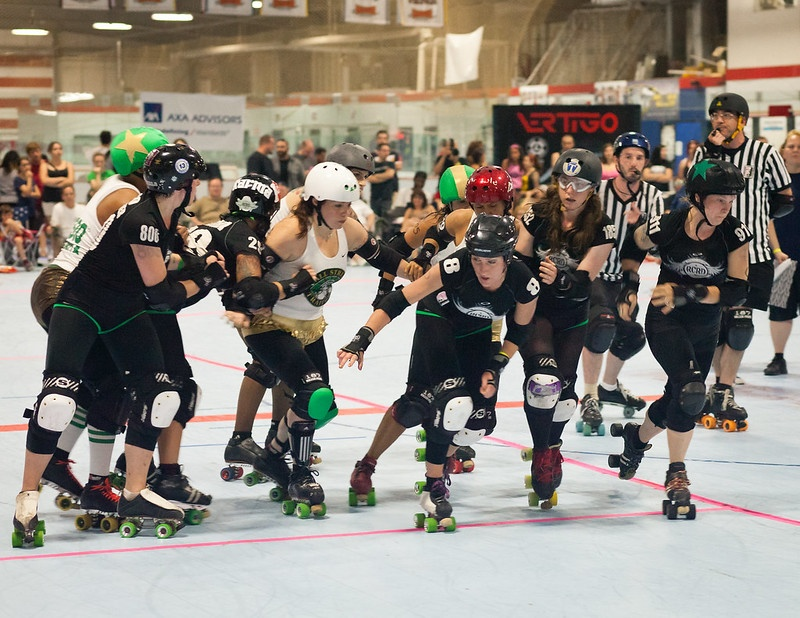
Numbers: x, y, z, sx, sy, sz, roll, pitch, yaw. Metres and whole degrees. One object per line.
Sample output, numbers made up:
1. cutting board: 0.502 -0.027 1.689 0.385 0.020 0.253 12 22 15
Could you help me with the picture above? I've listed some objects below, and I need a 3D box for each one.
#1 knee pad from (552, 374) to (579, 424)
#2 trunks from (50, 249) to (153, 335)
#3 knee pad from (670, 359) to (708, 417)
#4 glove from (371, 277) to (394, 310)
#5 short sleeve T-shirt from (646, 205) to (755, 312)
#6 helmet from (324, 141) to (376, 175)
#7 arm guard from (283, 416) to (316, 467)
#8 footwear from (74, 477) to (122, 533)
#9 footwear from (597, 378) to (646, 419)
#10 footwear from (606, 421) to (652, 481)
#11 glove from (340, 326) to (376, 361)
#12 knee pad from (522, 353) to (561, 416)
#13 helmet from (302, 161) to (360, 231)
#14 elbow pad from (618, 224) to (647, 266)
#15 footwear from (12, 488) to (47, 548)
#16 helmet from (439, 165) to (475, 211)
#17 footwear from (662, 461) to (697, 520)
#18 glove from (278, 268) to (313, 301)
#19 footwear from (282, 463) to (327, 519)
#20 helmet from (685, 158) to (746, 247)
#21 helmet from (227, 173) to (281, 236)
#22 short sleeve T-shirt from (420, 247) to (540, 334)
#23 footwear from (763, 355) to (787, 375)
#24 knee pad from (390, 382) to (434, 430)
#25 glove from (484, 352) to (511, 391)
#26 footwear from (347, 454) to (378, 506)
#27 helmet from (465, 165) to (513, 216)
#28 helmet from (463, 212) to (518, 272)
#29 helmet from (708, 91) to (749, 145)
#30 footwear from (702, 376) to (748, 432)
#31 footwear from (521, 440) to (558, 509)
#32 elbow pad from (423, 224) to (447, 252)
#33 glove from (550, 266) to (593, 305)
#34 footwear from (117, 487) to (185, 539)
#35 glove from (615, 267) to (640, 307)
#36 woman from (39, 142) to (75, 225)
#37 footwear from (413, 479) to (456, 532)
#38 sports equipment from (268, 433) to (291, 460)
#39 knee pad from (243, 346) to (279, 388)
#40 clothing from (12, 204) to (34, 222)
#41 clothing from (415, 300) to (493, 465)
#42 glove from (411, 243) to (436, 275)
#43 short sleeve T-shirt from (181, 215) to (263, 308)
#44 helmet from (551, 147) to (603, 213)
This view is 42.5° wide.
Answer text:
1. knee pad: 1.073 0.590 6.718 0.177 0.280 0.144 19 -6 -16
2. trunks: -1.774 -0.175 5.943 0.300 0.464 0.414 27 -6 -15
3. knee pad: 1.797 0.516 6.372 0.166 0.204 0.294 -12 15 -7
4. glove: -0.139 -0.108 7.473 0.182 0.221 0.093 25 3 -21
5. short sleeve T-shirt: 1.924 -0.329 6.668 0.662 0.573 0.353 4 24 18
6. helmet: -0.337 -1.010 6.956 0.283 0.190 0.201 7 3 11
7. arm guard: -0.655 0.860 6.539 0.214 0.310 0.236 12 -24 -41
8. footwear: -1.785 1.179 6.137 0.361 0.308 0.227 2 -4 13
9. footwear: 1.839 0.762 8.821 0.552 0.281 0.195 10 11 5
10. footwear: 1.517 0.935 6.956 0.273 0.448 0.299 -3 17 -9
11. glove: -0.244 0.220 6.266 0.160 0.078 0.215 31 56 33
12. knee pad: 0.892 0.471 6.523 0.271 0.322 0.175 9 34 7
13. helmet: -0.430 -0.716 6.370 0.351 0.350 0.302 1 10 1
14. elbow pad: 1.596 -0.416 7.031 0.130 0.241 0.234 -3 11 -20
15. footwear: -2.093 1.175 5.786 0.171 0.323 0.205 -3 11 -19
16. helmet: 0.367 -0.864 7.283 0.285 0.312 0.318 -4 12 -1
17. footwear: 1.759 1.139 6.493 0.177 0.329 0.458 3 -3 7
18. glove: -0.623 -0.151 6.227 0.221 0.175 0.101 0 11 -5
19. footwear: -0.603 1.127 6.520 0.230 0.314 0.479 1 1 -23
20. helmet: 1.927 -0.701 6.309 0.366 0.521 0.449 -12 14 -43
21. helmet: -0.936 -0.688 6.574 0.362 0.379 0.435 9 12 -6
22. short sleeve T-shirt: 0.538 -0.125 6.323 0.634 0.323 0.569 17 -24 8
23. footwear: 3.732 0.567 10.204 0.122 0.146 0.337 -1 -3 34
24. knee pad: 0.081 0.625 6.495 0.269 0.266 0.113 41 20 -12
25. glove: 0.601 0.382 6.332 0.087 0.214 0.140 40 -13 -15
26. footwear: -0.242 1.101 6.650 0.178 0.277 0.223 0 11 -2
27. helmet: 0.563 -0.774 6.590 0.271 0.289 0.335 1 0 15
28. helmet: 0.533 -0.393 6.042 0.294 0.300 0.283 1 10 0
29. helmet: 2.704 -1.554 8.389 0.320 0.368 0.345 11 9 27
30. footwear: 2.659 0.803 8.396 0.177 0.320 0.509 1 2 -20
31. footwear: 0.900 1.072 6.651 0.133 0.441 0.124 -4 -9 -11
32. elbow pad: 0.249 -0.490 7.204 0.136 0.182 0.085 47 12 17
33. glove: 1.100 -0.142 6.616 0.205 0.212 0.312 5 11 24
34. footwear: -1.459 1.184 5.969 0.409 0.226 0.243 1 2 -1
35. glove: 1.548 -0.138 6.978 0.169 0.242 0.098 17 -18 9
36. woman: -5.940 -2.033 17.813 0.643 1.587 0.556 -11 29 -40
37. footwear: 0.195 1.234 6.312 0.133 0.156 0.412 1 5 -9
38. sports equipment: -0.805 0.906 6.846 0.147 0.127 0.184 14 -13 -16
39. knee pad: -0.950 0.429 7.024 0.298 0.115 0.224 38 6 -15
40. clothing: -6.490 -1.659 17.675 0.321 0.312 0.027 -12 18 -40
41. clothing: 0.360 0.417 6.380 0.578 0.918 0.427 5 -6 -21
42. glove: 0.169 -0.336 7.100 0.174 0.227 0.064 32 -19 -23
43. short sleeve T-shirt: -1.061 -0.291 6.300 0.548 0.486 0.210 3 -3 35
44. helmet: 1.198 -0.853 6.659 0.300 0.311 0.350 7 -5 14
